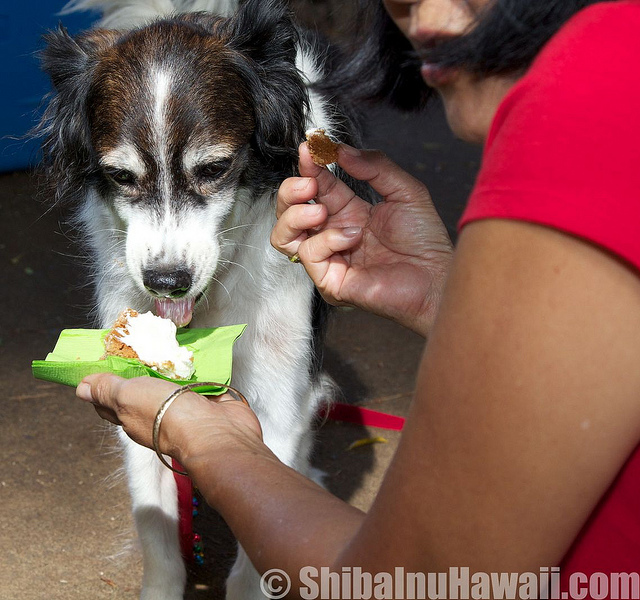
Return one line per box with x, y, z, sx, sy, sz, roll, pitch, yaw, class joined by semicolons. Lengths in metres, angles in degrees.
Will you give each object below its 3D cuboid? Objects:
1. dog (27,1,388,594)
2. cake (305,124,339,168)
-0.369;0.094;2.961;1.183;2.484;1.536;1;34;-13;dog
0.011;-0.392;1.826;0.100;0.033;0.134;25;55;-23;cake
